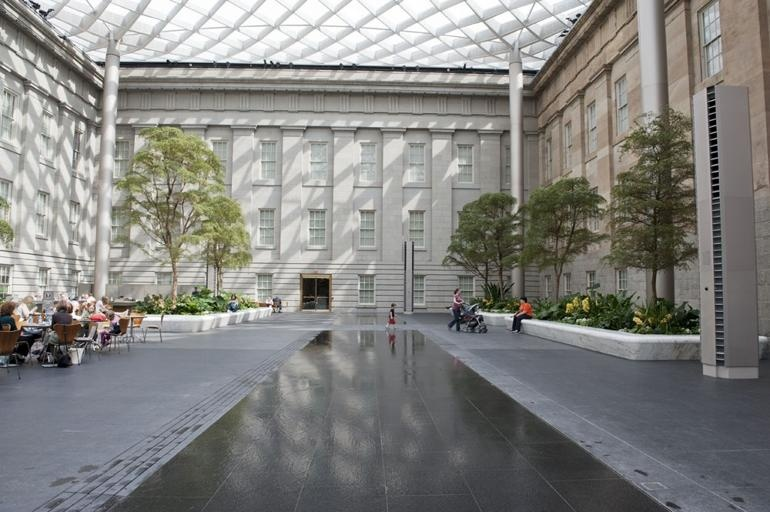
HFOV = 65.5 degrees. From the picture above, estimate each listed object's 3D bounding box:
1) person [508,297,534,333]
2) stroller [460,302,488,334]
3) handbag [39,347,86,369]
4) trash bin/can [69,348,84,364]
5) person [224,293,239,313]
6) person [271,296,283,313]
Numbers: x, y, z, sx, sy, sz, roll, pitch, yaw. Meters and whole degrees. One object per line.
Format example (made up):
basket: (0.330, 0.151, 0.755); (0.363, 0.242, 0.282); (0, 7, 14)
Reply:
person: (5.820, 2.583, 25.476); (0.826, 1.466, 1.125); (2, 7, 14)
stroller: (3.998, 2.789, 26.197); (1.039, 1.403, 1.392); (0, 3, -26)
handbag: (-9.022, 2.913, 16.843); (0.851, 0.380, 0.665); (-1, 0, 44)
trash bin/can: (-8.800, 2.930, 17.172); (0.445, 0.471, 0.409); (0, -16, -11)
person: (-8.154, 2.605, 31.707); (0.539, 0.854, 1.502); (-1, 18, -13)
person: (-7.468, 3.456, 41.307); (0.997, 1.478, 0.825); (0, -8, -8)
